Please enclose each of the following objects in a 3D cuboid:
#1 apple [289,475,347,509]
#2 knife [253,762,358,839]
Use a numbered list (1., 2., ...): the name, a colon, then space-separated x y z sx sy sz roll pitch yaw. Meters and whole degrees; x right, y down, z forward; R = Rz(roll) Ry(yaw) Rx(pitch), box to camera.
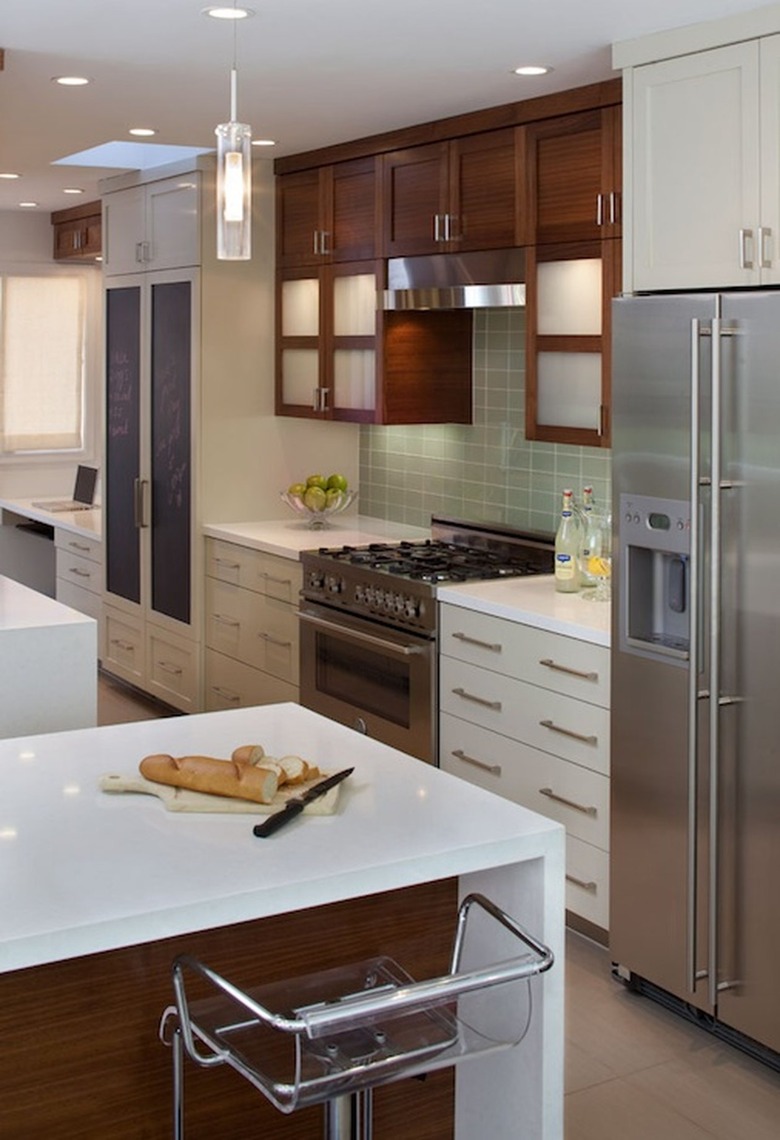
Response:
1. apple: -0.367 -0.375 4.501 0.201 0.114 0.199 -1 4 24
2. knife: -0.103 0.294 1.276 0.034 0.021 0.239 -36 -5 30
